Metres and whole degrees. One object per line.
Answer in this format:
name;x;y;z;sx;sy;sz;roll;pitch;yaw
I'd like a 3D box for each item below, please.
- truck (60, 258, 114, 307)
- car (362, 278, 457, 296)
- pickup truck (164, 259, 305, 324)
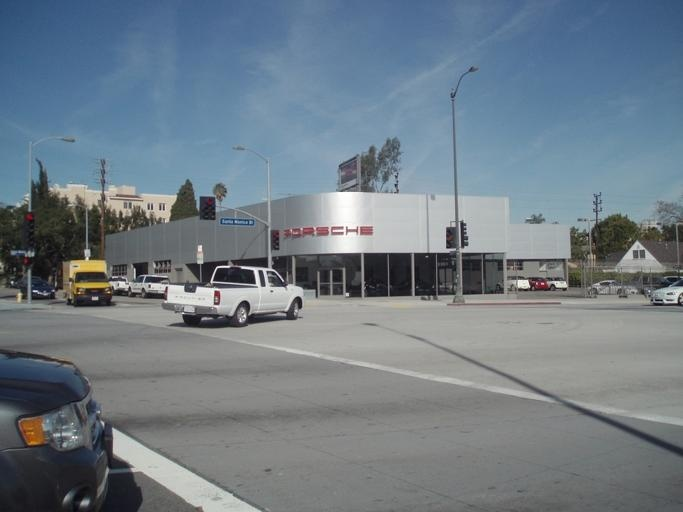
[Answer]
truck;-15.468;1.543;39.473;2.043;2.911;6.514;0;-4;-27
car;5.147;2.379;49.699;6.792;1.159;1.254;-1;-3;-7
pickup truck;-3.634;1.450;24.014;2.230;2.109;6.094;-3;-4;31
